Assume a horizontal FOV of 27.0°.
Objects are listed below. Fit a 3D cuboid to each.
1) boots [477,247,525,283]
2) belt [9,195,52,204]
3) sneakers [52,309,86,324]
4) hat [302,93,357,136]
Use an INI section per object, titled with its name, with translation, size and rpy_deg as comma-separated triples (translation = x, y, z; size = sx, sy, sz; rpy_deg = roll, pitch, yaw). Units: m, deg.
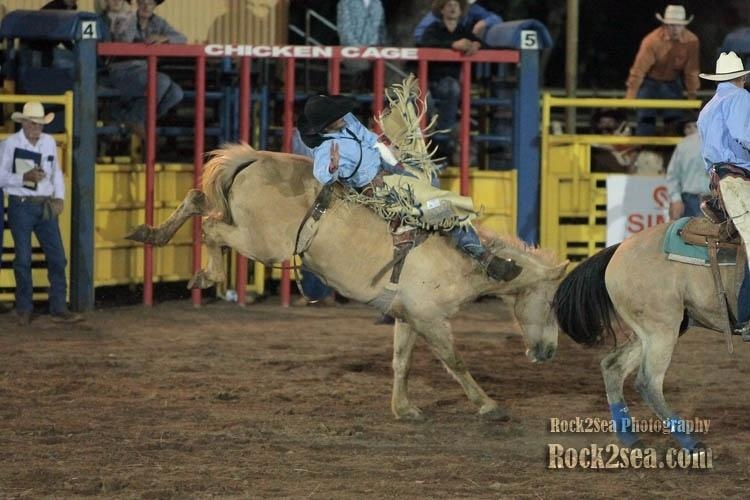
[boots]
translation = 1.189, 0.136, 15.865
size = 0.566, 0.168, 0.237
rpy_deg = 19, 11, 21
[belt]
translation = -4.055, -0.627, 18.346
size = 0.465, 0.083, 0.116
rpy_deg = 0, 4, -5
[sneakers]
translation = -3.677, 0.782, 18.700
size = 0.327, 0.119, 0.168
rpy_deg = 1, 7, 6
[hat]
translation = -0.480, -1.428, 15.566
size = 0.432, 0.374, 0.170
rpy_deg = -35, -34, -3
